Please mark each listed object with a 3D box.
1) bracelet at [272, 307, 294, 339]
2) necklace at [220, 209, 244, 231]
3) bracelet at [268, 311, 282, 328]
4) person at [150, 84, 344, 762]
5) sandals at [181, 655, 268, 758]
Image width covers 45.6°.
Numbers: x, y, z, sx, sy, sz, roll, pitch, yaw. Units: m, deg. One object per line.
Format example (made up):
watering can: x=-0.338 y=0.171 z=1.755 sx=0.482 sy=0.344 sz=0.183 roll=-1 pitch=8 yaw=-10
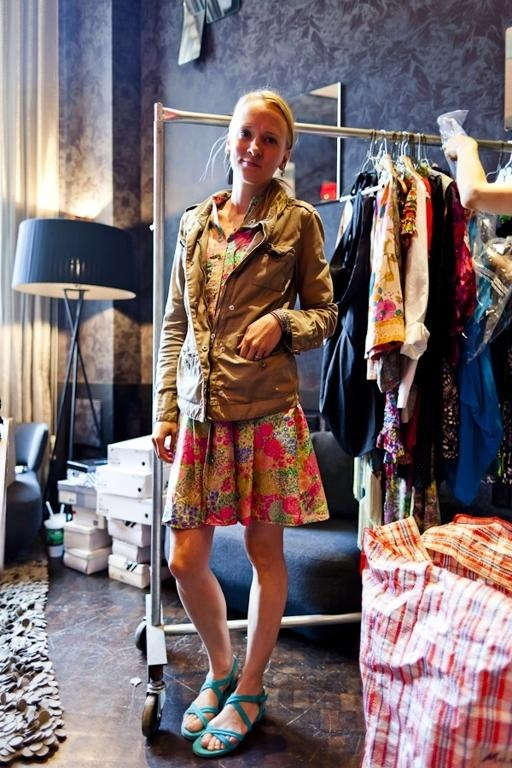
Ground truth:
bracelet: x=0.060 y=-0.127 z=1.264 sx=0.018 sy=0.054 sz=0.039 roll=-15 pitch=8 yaw=14
necklace: x=-0.055 y=-0.374 z=1.392 sx=0.049 sy=0.071 sz=0.027 roll=0 pitch=-21 yaw=20
bracelet: x=0.040 y=-0.135 z=1.258 sx=0.026 sy=0.035 sz=0.018 roll=2 pitch=1 yaw=36
person: x=-0.039 y=0.094 z=1.386 sx=0.432 sy=1.462 sz=0.281 roll=1 pitch=1 yaw=7
sandals: x=-0.068 y=0.746 z=1.405 sx=0.103 sy=0.092 sz=0.216 roll=2 pitch=-11 yaw=25
